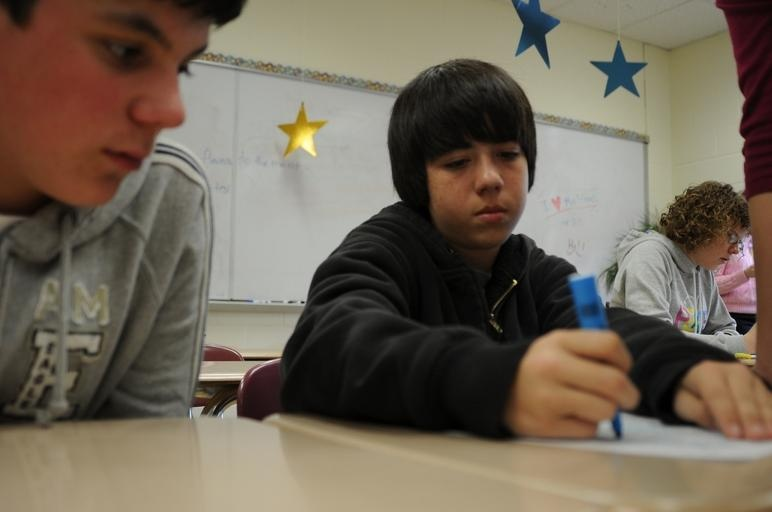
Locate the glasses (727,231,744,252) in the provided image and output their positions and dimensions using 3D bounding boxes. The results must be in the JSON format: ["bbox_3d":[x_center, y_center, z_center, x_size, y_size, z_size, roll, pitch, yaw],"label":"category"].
[{"bbox_3d":[1.637,-0.071,2.653,0.057,0.093,0.065,12,-8,35],"label":"glasses"}]
